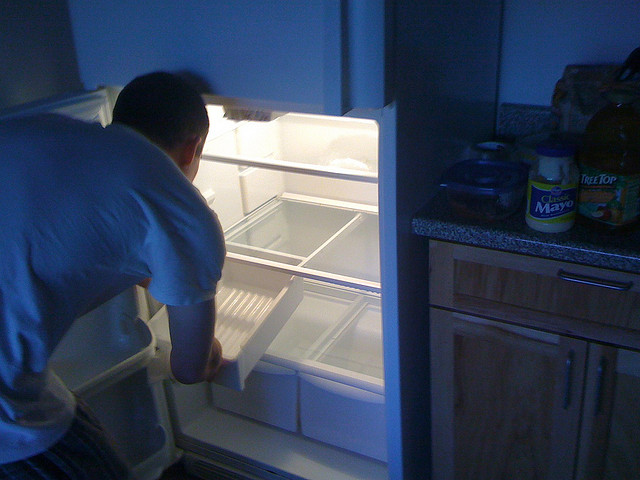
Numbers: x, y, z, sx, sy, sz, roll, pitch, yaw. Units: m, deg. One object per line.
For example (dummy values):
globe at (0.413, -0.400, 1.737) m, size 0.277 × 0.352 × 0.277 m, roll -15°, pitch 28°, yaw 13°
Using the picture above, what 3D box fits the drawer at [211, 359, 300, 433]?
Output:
drawer at (-0.229, 0.563, 2.013) m, size 0.240 × 0.129 × 0.157 m, roll 22°, pitch 63°, yaw -23°

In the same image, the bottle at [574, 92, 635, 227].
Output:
bottle at (0.806, -0.236, 1.446) m, size 0.157 × 0.272 × 0.415 m, roll 13°, pitch 31°, yaw 22°

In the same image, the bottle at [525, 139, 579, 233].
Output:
bottle at (0.609, -0.144, 1.366) m, size 0.120 × 0.206 × 0.154 m, roll -8°, pitch 29°, yaw -14°

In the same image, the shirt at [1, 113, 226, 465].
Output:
shirt at (-0.531, 0.086, 1.234) m, size 0.567 × 0.717 × 0.295 m, roll -13°, pitch 31°, yaw -22°
